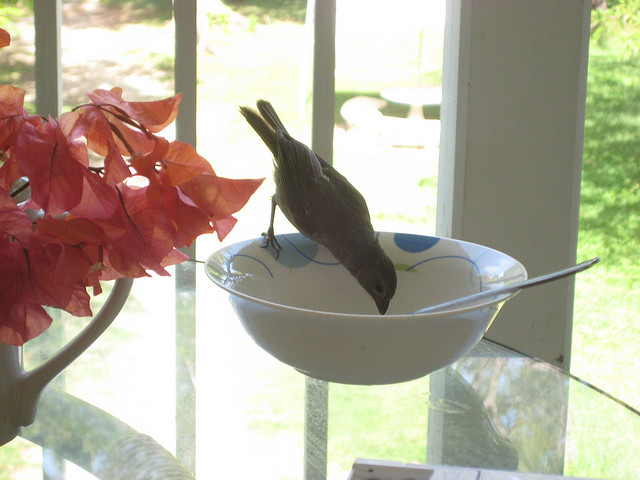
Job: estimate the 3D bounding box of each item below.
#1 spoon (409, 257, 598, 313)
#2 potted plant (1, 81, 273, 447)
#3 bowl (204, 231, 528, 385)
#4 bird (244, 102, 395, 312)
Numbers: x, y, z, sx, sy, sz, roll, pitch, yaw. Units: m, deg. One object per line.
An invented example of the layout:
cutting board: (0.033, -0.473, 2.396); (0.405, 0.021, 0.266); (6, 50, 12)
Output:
spoon: (0.370, 0.090, 1.983); (0.318, 0.027, 0.037); (-24, -24, 23)
potted plant: (-0.378, 0.051, 1.651); (0.486, 0.637, 0.320); (7, 16, 30)
bowl: (0.186, 0.091, 2.031); (0.492, 0.189, 0.528); (6, 2, 0)
bird: (-0.004, -0.094, 1.977); (0.199, 0.563, 0.228); (-1, -19, -45)
